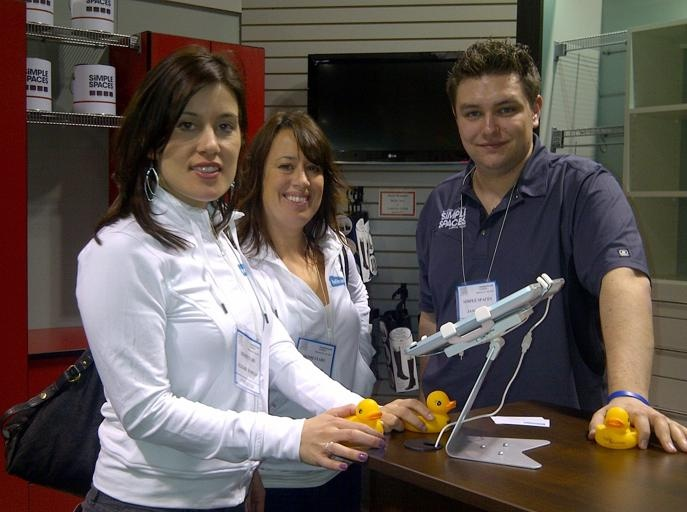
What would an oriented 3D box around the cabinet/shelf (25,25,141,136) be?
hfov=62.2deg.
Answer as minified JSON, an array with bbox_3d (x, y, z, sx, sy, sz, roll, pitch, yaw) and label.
[{"bbox_3d":[-1.526,-1.083,3.408,0.274,0.583,0.774,-8,8,18],"label":"cabinet/shelf"}]

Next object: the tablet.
[{"bbox_3d":[0.399,0.171,1.625,0.418,0.268,0.215,3,8,23],"label":"tablet"}]

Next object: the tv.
[{"bbox_3d":[0.303,-1.022,3.825,0.856,0.627,0.094,0,6,5],"label":"tv"}]

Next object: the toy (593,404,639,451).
[{"bbox_3d":[0.771,0.469,1.600,0.112,0.117,0.158,6,5,30],"label":"toy"}]

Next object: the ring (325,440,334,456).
[{"bbox_3d":[-0.040,0.545,1.619,0.029,0.035,0.028,-24,38,20],"label":"ring"}]

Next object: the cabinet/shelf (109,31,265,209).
[{"bbox_3d":[-1.041,-0.892,3.769,1.157,1.344,0.429,7,-5,4],"label":"cabinet/shelf"}]

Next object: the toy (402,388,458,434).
[{"bbox_3d":[0.271,0.479,1.785,0.167,0.142,0.138,1,2,30],"label":"toy"}]
